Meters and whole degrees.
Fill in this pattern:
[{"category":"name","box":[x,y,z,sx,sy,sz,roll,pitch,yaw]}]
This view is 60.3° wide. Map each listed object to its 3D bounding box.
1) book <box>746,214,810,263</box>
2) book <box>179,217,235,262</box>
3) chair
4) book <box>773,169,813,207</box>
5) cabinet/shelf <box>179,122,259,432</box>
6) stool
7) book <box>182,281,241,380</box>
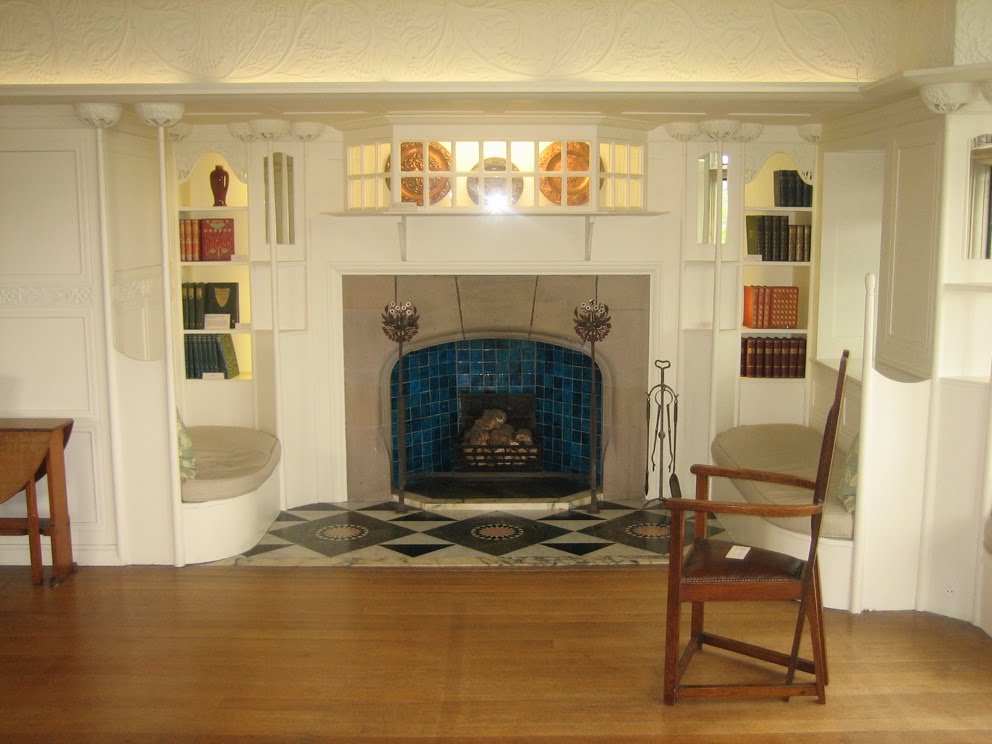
[{"category":"book","box":[2.143,-1.013,6.549,0.453,0.368,0.222,1,0,2]},{"category":"book","box":[-2.238,-1.025,6.619,0.433,0.317,0.245,0,13,-1]},{"category":"chair","box":[1.209,0.773,4.191,1.043,1.429,1.043,0,-2,-44]},{"category":"book","box":[2.245,-1.383,6.610,0.294,0.332,0.367,1,8,3]},{"category":"cabinet/shelf","box":[-2.291,-0.859,6.957,0.339,2.108,0.593,10,-31,-32]},{"category":"stool","box":[-1.918,0.762,6.057,0.671,0.342,1.151,-3,15,-10]},{"category":"book","box":[-2.244,-0.326,6.716,0.421,0.747,0.253,-1,14,-2]}]
